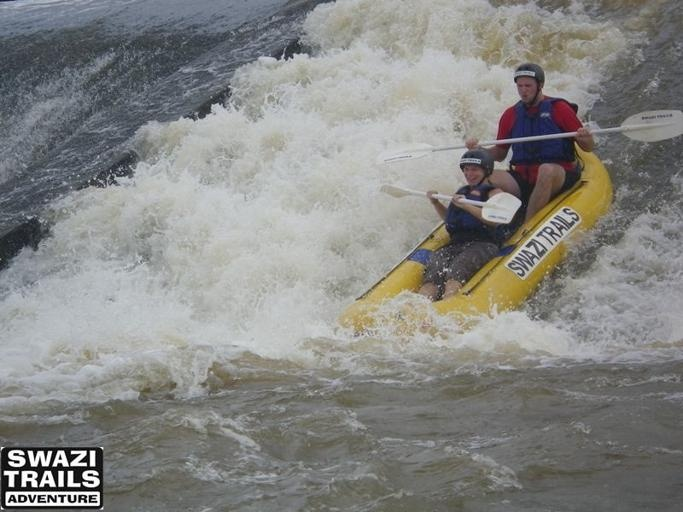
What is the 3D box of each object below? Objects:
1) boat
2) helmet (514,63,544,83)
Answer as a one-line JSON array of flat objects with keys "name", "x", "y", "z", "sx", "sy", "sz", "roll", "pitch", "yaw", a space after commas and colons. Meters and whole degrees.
[{"name": "boat", "x": 1.725, "y": 0.055, "z": 13.274, "sx": 3.271, "sy": 0.658, "sz": 1.388, "roll": -35, "pitch": 24, "yaw": -10}, {"name": "helmet", "x": 2.166, "y": -2.125, "z": 13.776, "sx": 0.325, "sy": 0.244, "sz": 0.230, "roll": -4, "pitch": 54, "yaw": 16}]
